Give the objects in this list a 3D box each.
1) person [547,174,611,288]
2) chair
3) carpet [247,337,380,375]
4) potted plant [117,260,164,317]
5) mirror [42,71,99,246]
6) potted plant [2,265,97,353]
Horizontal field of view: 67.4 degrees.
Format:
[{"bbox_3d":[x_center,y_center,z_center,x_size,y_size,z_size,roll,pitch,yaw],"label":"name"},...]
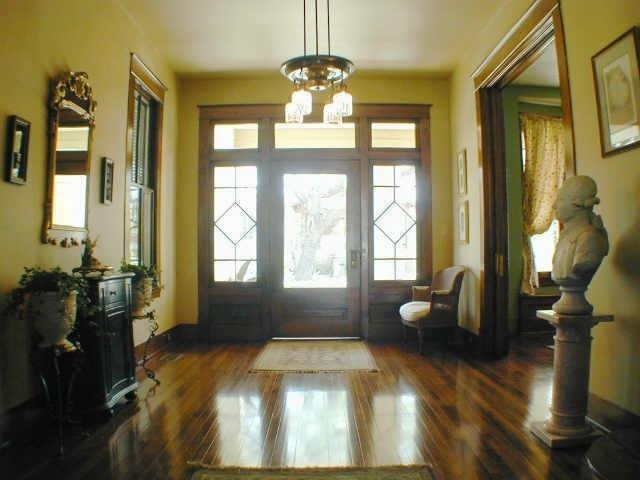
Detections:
[{"bbox_3d":[1.934,-0.061,3.576,0.370,0.851,0.181,0,0,29],"label":"person"},{"bbox_3d":[1.379,0.813,5.970,0.731,1.013,0.749,2,-2,-5],"label":"chair"},{"bbox_3d":[-0.050,1.349,5.600,1.369,0.045,1.240,0,1,2],"label":"carpet"},{"bbox_3d":[-1.781,0.479,4.896,0.460,0.654,0.522,0,-4,-16],"label":"potted plant"},{"bbox_3d":[-2.180,-0.722,4.204,0.192,1.164,0.547,0,0,6],"label":"mirror"},{"bbox_3d":[-2.044,0.451,3.860,0.636,0.725,0.583,2,3,4],"label":"potted plant"}]
